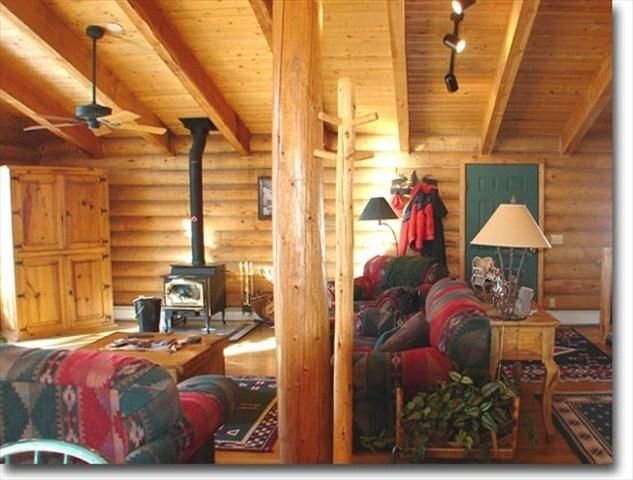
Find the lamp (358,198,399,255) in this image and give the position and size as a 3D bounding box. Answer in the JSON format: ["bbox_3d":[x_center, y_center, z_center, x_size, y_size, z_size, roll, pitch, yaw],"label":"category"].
[{"bbox_3d":[0.774,-0.154,6.555,0.408,0.822,0.927,1,13,10],"label":"lamp"}]

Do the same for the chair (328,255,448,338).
[{"bbox_3d":[0.758,0.544,5.445,0.716,0.816,0.875,3,-9,-37],"label":"chair"}]

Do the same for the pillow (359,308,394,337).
[{"bbox_3d":[0.524,0.751,4.918,0.243,0.105,0.289,2,4,4],"label":"pillow"}]

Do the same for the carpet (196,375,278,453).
[{"bbox_3d":[-0.625,1.259,4.464,0.575,0.020,1.310,-1,8,2],"label":"carpet"}]

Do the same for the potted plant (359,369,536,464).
[{"bbox_3d":[0.969,1.249,3.732,0.783,0.326,0.739,-2,0,10],"label":"potted plant"}]

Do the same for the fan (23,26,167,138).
[{"bbox_3d":[-2.231,-1.635,5.385,1.413,0.937,1.341,6,5,29],"label":"fan"}]

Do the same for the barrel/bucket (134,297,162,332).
[{"bbox_3d":[-1.842,0.794,6.045,0.375,0.445,0.454,1,-3,-13],"label":"barrel/bucket"}]

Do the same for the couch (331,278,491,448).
[{"bbox_3d":[0.716,0.777,4.052,1.050,0.890,1.412,-3,6,15],"label":"couch"}]

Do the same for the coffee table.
[{"bbox_3d":[-1.192,0.893,4.040,0.692,0.373,0.648,-1,2,3],"label":"coffee table"}]
